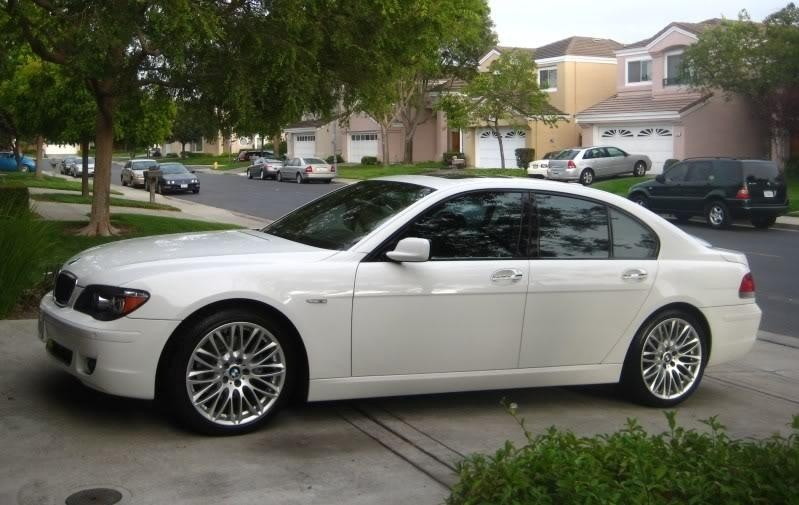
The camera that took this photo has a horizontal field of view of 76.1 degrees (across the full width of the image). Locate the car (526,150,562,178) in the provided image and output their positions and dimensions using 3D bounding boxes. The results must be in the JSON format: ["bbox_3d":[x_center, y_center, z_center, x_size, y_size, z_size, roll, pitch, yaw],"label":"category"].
[{"bbox_3d":[11.548,-6.754,39.560,2.158,1.669,5.002,8,15,41],"label":"car"}]
